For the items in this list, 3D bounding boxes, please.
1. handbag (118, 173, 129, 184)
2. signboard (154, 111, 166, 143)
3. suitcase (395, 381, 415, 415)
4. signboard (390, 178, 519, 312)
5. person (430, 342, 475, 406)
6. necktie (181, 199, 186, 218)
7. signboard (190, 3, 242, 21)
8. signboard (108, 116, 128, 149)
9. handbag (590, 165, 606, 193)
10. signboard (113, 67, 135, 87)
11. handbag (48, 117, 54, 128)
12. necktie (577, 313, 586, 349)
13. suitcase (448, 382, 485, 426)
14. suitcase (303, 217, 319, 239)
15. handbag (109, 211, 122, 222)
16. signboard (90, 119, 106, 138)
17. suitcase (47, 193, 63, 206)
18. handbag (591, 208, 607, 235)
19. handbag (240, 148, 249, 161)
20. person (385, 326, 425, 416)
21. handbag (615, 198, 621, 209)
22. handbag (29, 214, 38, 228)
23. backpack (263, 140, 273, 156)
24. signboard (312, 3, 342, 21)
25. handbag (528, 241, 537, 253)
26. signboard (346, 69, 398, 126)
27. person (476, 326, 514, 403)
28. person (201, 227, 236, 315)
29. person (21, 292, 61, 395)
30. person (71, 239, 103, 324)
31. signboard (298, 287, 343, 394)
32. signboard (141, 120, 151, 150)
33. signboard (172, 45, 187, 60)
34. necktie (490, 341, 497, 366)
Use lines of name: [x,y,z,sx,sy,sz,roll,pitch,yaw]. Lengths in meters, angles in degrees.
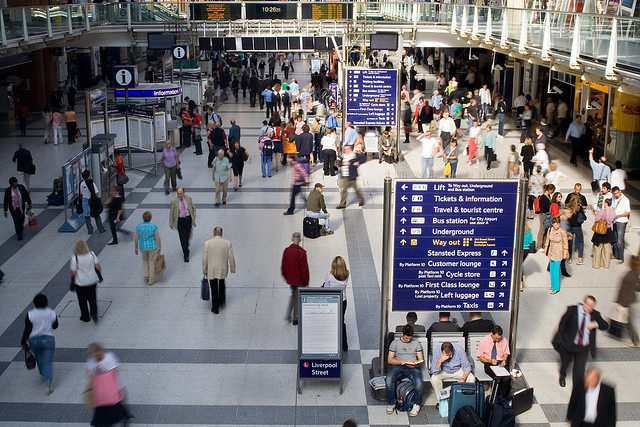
handbag: [-7.185,-1.258,18.533,0.394,0.587,0.257,-3,23,-18]
signboard: [-6.659,-3.701,21.174,0.488,1.224,0.304,-7,15,-26]
suitcase: [1.519,3.271,9.003,0.331,0.440,0.429,11,16,43]
signboard: [2.214,0.431,8.420,2.051,2.354,0.089,0,11,-2]
person: [2.320,2.762,8.934,0.687,1.213,0.651,-3,20,14]
necktie: [-3.583,-0.146,13.270,0.116,0.479,0.044,-5,15,-19]
signboard: [-5.693,-11.261,27.861,2.636,0.887,0.416,1,14,3]
signboard: [-8.236,-3.362,20.678,0.619,1.304,0.498,-6,15,-20]
handbag: [8.288,-0.974,15.088,0.292,0.915,0.552,12,3,4]
signboard: [-8.157,-5.856,21.334,0.781,0.847,0.805,3,11,2]
handbag: [-13.363,-4.601,25.127,0.092,0.388,0.398,5,7,-6]
necktie: [4.624,2.103,8.962,0.083,0.609,0.100,8,16,32]
suitcase: [2.359,3.124,8.156,0.549,0.875,0.301,2,13,3]
suitcase: [-0.274,0.416,15.148,0.536,0.698,0.376,2,5,18]
handbag: [-5.824,0.059,14.379,0.264,0.308,0.268,6,16,10]
signboard: [-8.699,-3.371,19.825,0.163,0.731,0.757,5,10,22]
suitcase: [-9.006,-0.482,17.231,0.369,0.414,0.387,2,5,0]
handbag: [7.276,0.207,13.125,0.337,0.694,0.195,5,15,20]
handbag: [-2.810,-2.248,18.741,0.132,0.494,0.533,2,15,10]
person: [1.463,2.744,8.852,0.630,1.556,0.494,1,14,7]
handbag: [7.859,-0.278,13.376,0.042,0.327,0.042,21,6,18]
handbag: [-8.948,0.237,15.766,0.222,0.481,0.334,-9,17,-31]
backpack: [-2.064,-2.609,19.769,0.531,0.771,0.415,0,9,-12]
signboard: [0.399,-11.835,29.254,1.704,0.895,0.258,-1,14,-2]
handbag: [5.126,0.816,12.231,0.241,0.269,0.086,6,-4,27]
signboard: [2.066,-4.941,20.826,2.301,2.569,0.262,-1,13,1]
person: [3.120,2.624,8.827,0.643,1.211,0.701,-1,14,0]
person: [-2.317,1.242,11.519,0.693,1.921,0.622,0,15,-19]
person: [-5.155,2.358,9.303,0.629,1.810,0.725,-7,15,-23]
person: [-5.024,1.509,10.906,0.541,2.020,0.698,-8,16,-28]
signboard: [0.012,2.273,9.288,0.860,2.019,0.525,0,4,4]
signboard: [-7.018,-3.262,20.446,0.880,1.311,0.058,16,22,40]
signboard: [-7.786,-9.026,28.061,0.697,0.747,0.724,0,4,-3]
necktie: [3.069,2.437,8.940,0.101,0.316,0.082,2,14,9]
